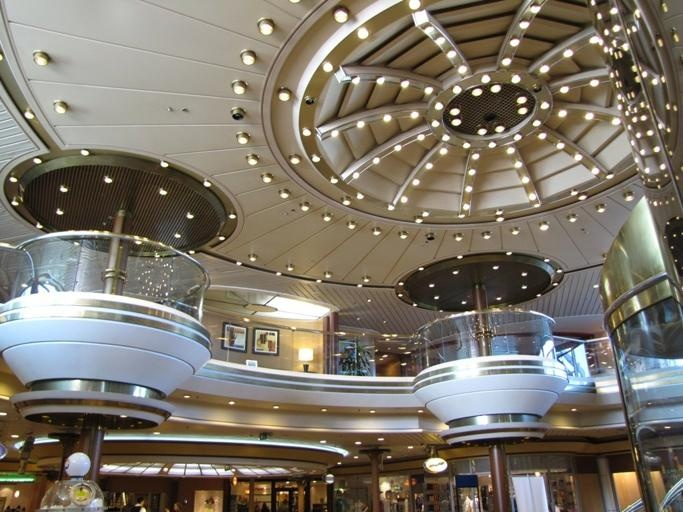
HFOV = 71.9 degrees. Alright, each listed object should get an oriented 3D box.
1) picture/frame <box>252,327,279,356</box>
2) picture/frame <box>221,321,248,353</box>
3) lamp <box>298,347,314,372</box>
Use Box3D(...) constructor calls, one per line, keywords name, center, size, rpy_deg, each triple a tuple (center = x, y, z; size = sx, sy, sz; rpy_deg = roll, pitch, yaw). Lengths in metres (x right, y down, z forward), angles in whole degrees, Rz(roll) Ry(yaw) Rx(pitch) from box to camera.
Box3D(name="picture/frame", center=(-1.927, 2.193, 11.845), size=(0.799, 0.587, 0.080), rpy_deg=(12, -30, -38))
Box3D(name="picture/frame", center=(-2.599, 1.972, 11.389), size=(0.059, 0.620, 0.860), rpy_deg=(-16, -20, 43))
Box3D(name="lamp", center=(-0.908, 2.697, 12.178), size=(0.401, 0.630, 0.092), rpy_deg=(11, -32, -19))
